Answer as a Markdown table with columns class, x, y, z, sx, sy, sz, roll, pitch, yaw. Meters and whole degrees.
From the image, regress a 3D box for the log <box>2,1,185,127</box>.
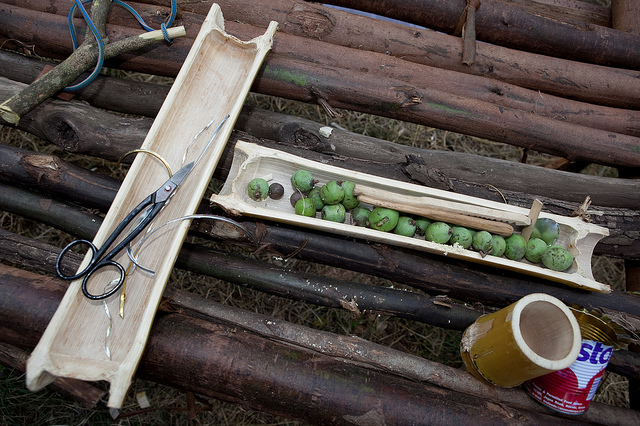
| class | x | y | z | sx | sy | sz | roll | pitch | yaw |
| --- | --- | --- | --- | --- | --- | --- | --- | --- | --- |
| log | -2.286 | -1.460 | 5.856 | 1.743 | 0.254 | 0.973 | -41 | 97 | -13 |
